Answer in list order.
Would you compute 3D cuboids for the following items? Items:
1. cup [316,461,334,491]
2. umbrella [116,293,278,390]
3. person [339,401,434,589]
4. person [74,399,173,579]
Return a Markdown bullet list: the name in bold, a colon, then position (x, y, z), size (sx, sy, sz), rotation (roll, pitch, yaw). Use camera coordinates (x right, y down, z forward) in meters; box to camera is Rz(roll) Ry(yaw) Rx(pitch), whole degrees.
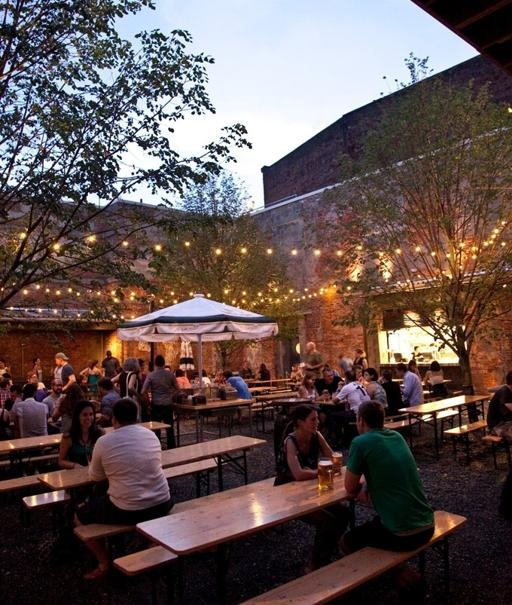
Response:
- **cup**: position (0.512, 1.249, 3.403), size (0.112, 0.195, 0.122), rotation (-3, -6, 0)
- **umbrella**: position (-1.196, 0.601, 9.371), size (2.304, 1.367, 2.129), rotation (0, 1, -9)
- **person**: position (0.792, 1.194, 3.004), size (0.405, 1.088, 0.517), rotation (2, -8, -41)
- **person**: position (-1.030, 1.457, 3.604), size (0.689, 1.400, 0.421), rotation (-7, -7, 29)
